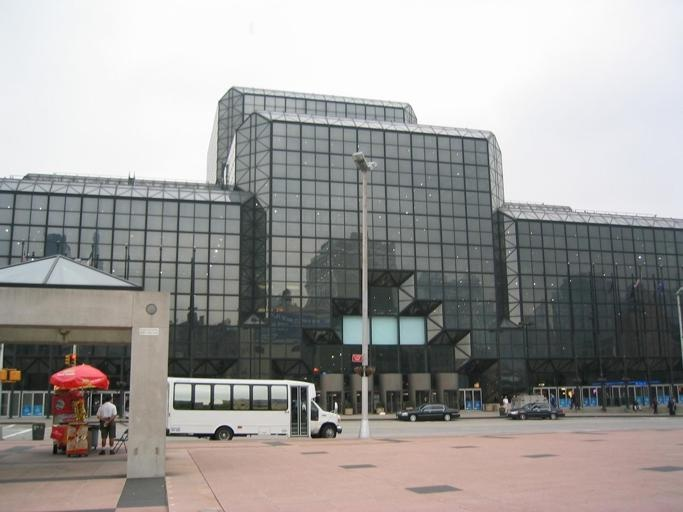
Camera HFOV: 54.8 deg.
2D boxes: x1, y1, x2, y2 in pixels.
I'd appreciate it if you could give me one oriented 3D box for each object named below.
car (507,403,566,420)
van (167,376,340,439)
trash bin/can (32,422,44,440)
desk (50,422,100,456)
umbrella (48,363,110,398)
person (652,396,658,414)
[{"bbox_3d":[16.093,12.912,54.399,4.325,1.340,1.574,-2,-14,-8],"label":"car"},{"bbox_3d":[-5.474,7.768,33.074,10.370,3.903,2.831,0,-11,-10],"label":"van"},{"bbox_3d":[-14.274,8.338,31.023,0.476,0.792,1.036,3,-15,-27],"label":"trash bin/can"},{"bbox_3d":[-9.961,6.867,24.652,1.652,1.219,2.131,2,-15,-23],"label":"desk"},{"bbox_3d":[-9.423,4.575,24.308,1.823,0.892,1.894,-4,-12,22],"label":"umbrella"},{"bbox_3d":[28.954,13.968,60.923,0.382,1.377,3.892,-9,-15,23],"label":"person"}]
